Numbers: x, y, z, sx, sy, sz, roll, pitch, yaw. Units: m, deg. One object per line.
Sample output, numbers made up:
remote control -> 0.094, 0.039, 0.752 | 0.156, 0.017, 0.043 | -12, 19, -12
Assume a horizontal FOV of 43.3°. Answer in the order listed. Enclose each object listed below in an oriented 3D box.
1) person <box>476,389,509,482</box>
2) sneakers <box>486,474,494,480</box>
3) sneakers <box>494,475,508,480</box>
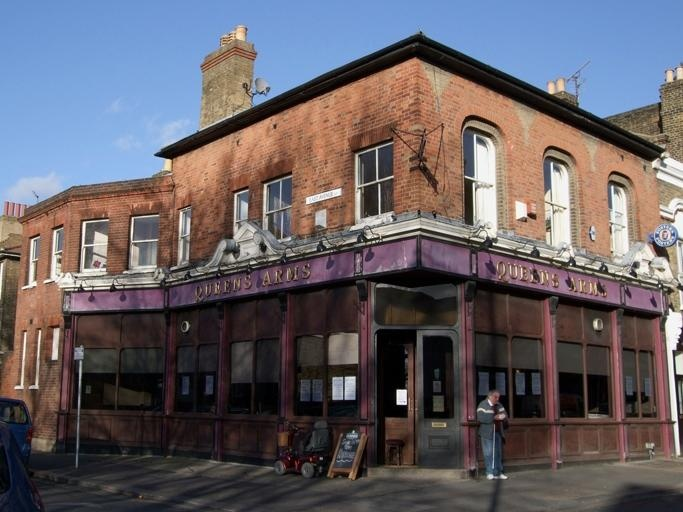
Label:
person -> 3.738, 4.418, 21.177 | 0.745, 2.134, 0.713 | -3, -16, 6
sneakers -> 3.668, 5.393, 20.945 | 0.181, 0.134, 0.156 | -4, -17, 9
sneakers -> 3.918, 5.431, 21.028 | 0.325, 0.146, 0.123 | 0, -4, -1
